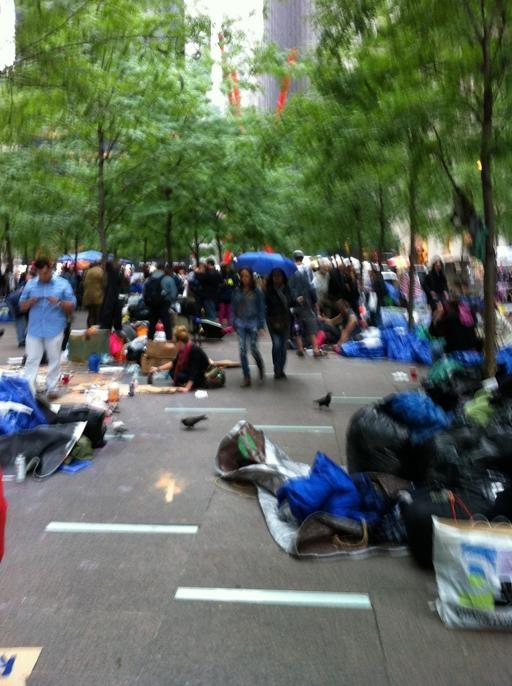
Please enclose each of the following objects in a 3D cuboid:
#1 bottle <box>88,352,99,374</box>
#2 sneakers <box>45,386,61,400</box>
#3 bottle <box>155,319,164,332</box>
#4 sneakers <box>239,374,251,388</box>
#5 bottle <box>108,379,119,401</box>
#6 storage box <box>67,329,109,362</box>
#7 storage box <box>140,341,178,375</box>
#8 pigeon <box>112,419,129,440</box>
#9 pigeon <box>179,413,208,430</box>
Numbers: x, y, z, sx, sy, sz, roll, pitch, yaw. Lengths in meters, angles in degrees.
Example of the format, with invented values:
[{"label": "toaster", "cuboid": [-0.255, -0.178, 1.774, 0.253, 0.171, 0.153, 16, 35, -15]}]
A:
[{"label": "bottle", "cuboid": [-3.262, 0.420, 10.048, 0.225, 0.355, 0.367, -5, 4, -19]}, {"label": "sneakers", "cuboid": [-3.091, 0.810, 7.673, 0.192, 0.218, 0.218, 15, -26, -37]}, {"label": "bottle", "cuboid": [-2.515, -0.455, 13.028, 0.246, 0.325, 0.560, 0, 9, -8]}, {"label": "sneakers", "cuboid": [-0.167, 0.703, 8.977, 0.172, 0.197, 0.350, -3, 4, -1]}, {"label": "bottle", "cuboid": [-2.182, 0.746, 7.638, 0.178, 0.311, 0.178, 2, 15, -1]}, {"label": "storage box", "cuboid": [-3.546, 0.070, 10.766, 0.870, 0.869, 0.649, 1, -2, -10]}, {"label": "storage box", "cuboid": [-1.945, 0.266, 9.930, 0.828, 0.840, 0.508, -2, -5, 5]}, {"label": "pigeon", "cuboid": [-1.627, 1.068, 5.962, 0.192, 0.176, 0.320, 2, -21, -2]}, {"label": "pigeon", "cuboid": [-0.787, 0.983, 6.345, 0.316, 0.192, 0.627, -4, 4, -5]}]
